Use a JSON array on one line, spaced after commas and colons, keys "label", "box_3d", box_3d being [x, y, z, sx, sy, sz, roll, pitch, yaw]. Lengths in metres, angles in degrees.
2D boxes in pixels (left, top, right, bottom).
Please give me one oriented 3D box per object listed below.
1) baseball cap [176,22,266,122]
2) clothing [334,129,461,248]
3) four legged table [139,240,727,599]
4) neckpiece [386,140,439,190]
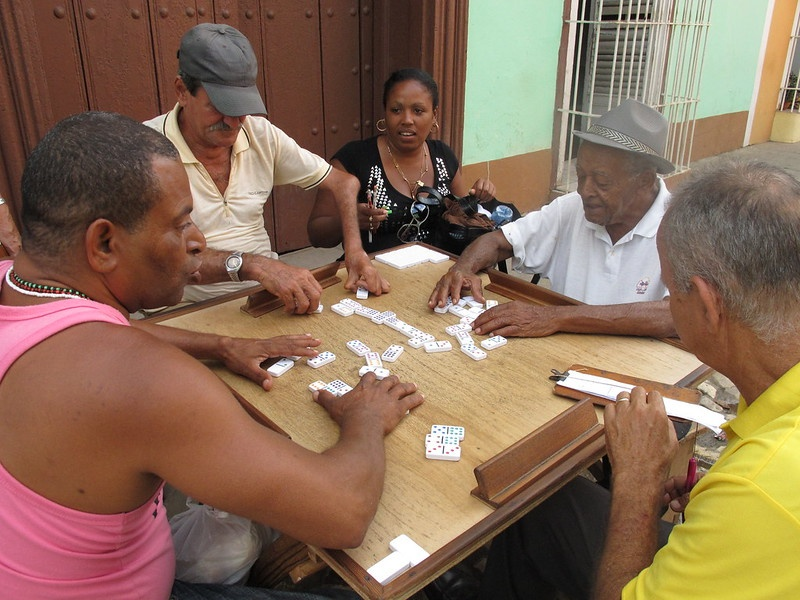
[{"label": "baseball cap", "box_3d": [-0.972, -1.328, 3.065, 0.411, 0.321, 0.646, -16, 50, -41]}, {"label": "clothing", "box_3d": [0.056, -0.858, 4.356, 0.859, 0.886, 0.491, -6, 35, -6]}, {"label": "four legged table", "box_3d": [0.277, 0.396, 2.252, 1.611, 0.558, 1.518, -25, 38, -37]}, {"label": "neckpiece", "box_3d": [0.100, -0.990, 4.238, 0.234, 0.074, 0.499, -7, 58, -23]}]
